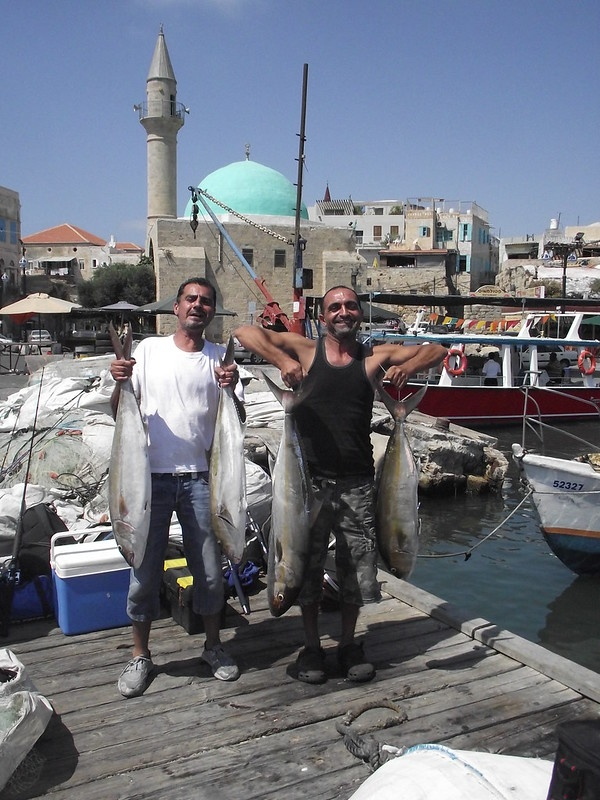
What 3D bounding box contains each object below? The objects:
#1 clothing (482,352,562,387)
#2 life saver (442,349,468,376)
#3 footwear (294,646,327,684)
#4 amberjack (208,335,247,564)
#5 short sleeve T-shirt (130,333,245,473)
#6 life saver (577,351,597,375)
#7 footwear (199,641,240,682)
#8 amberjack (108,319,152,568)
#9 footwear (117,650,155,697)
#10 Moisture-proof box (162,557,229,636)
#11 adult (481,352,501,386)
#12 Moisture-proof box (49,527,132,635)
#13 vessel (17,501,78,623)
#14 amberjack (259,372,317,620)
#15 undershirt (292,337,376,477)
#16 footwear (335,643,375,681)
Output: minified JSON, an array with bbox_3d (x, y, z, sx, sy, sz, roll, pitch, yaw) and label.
[{"bbox_3d":[6.350,-0.814,19.700,2.212,1.107,1.283,0,3,-10],"label":"clothing"},{"bbox_3d":[4.049,-0.969,17.958,0.539,0.763,1.103,2,5,11],"label":"life saver"},{"bbox_3d":[0.045,1.192,3.130,0.147,0.138,0.238,1,5,1],"label":"footwear"},{"bbox_3d":[-0.319,0.341,2.992,0.157,0.790,0.216,0,4,-8],"label":"amberjack"},{"bbox_3d":[-0.508,0.038,3.024,0.625,0.714,0.277,1,-1,-12],"label":"short sleeve T-shirt"},{"bbox_3d":[8.325,-1.091,20.165,0.683,0.677,0.178,15,-12,-41],"label":"life saver"},{"bbox_3d":[-0.356,1.192,3.111,0.091,0.074,0.186,1,2,-35],"label":"footwear"},{"bbox_3d":[-0.735,0.321,2.930,0.188,0.805,0.167,1,4,-1],"label":"amberjack"},{"bbox_3d":[-0.717,1.194,2.951,0.079,0.077,0.195,9,-4,-4],"label":"footwear"},{"bbox_3d":[-0.615,1.075,3.832,0.287,0.229,0.450,6,6,-32],"label":"Moisture-proof box"},{"bbox_3d":[5.366,-0.865,19.148,0.463,0.926,1.380,2,5,16],"label":"adult"},{"bbox_3d":[-1.088,0.954,3.694,0.491,0.492,0.313,-1,-1,-36],"label":"Moisture-proof box"},{"bbox_3d":[-1.490,0.925,4.123,0.380,0.557,0.531,12,-44,-38],"label":"vessel"},{"bbox_3d":[-0.053,0.460,3.052,0.213,1.100,0.250,0,4,-8],"label":"amberjack"},{"bbox_3d":[0.187,0.016,3.275,0.358,0.665,0.397,-2,-3,28],"label":"undershirt"},{"bbox_3d":[0.250,1.199,3.117,0.184,0.132,0.180,2,5,9],"label":"footwear"}]
